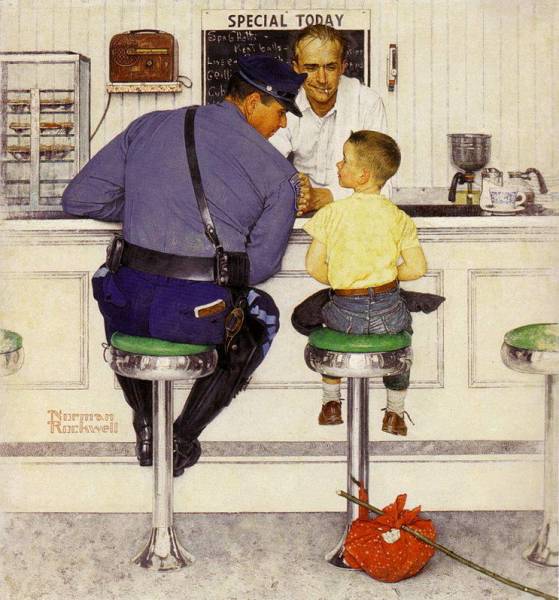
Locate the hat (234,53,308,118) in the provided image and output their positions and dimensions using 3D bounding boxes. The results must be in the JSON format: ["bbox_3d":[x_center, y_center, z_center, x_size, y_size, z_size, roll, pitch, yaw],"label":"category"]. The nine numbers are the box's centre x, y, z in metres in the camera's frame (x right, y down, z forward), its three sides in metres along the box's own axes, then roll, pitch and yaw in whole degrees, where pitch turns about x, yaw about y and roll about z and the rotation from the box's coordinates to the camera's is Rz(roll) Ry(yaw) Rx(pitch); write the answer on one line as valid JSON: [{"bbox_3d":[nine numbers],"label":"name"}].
[{"bbox_3d":[-0.028,-0.833,6.508,0.264,0.125,0.190,34,28,-6],"label":"hat"}]

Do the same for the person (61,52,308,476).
[{"bbox_3d":[-0.357,-0.085,6.502,0.870,1.667,0.499,2,9,7],"label":"person"}]

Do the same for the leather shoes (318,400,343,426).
[{"bbox_3d":[0.206,0.444,6.710,0.104,0.120,0.271,0,-3,0],"label":"leather shoes"}]

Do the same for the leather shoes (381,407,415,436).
[{"bbox_3d":[0.480,0.496,6.768,0.070,0.110,0.172,6,-1,27],"label":"leather shoes"}]

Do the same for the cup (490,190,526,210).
[{"bbox_3d":[0.955,-0.413,7.031,0.110,0.082,0.092,3,8,11],"label":"cup"}]
